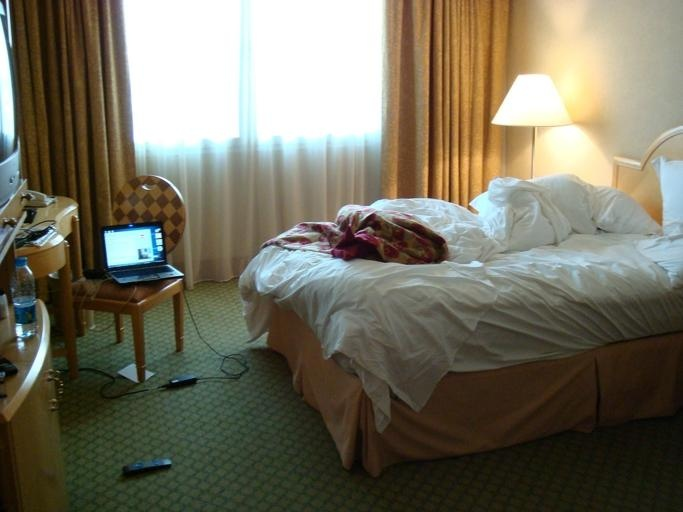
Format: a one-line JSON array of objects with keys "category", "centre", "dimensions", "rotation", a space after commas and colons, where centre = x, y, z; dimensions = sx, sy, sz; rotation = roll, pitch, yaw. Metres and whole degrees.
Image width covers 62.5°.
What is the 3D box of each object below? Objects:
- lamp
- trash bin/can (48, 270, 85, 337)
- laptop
[{"category": "lamp", "centre": [1.542, -1.112, 4.515], "dimensions": [0.515, 1.048, 0.513], "rotation": [-17, 23, -42]}, {"category": "trash bin/can", "centre": [-1.699, 0.307, 3.498], "dimensions": [0.216, 0.400, 0.224], "rotation": [-20, 49, -32]}, {"category": "laptop", "centre": [-1.287, -0.024, 3.536], "dimensions": [0.434, 0.413, 0.310], "rotation": [-4, 14, -28]}]
